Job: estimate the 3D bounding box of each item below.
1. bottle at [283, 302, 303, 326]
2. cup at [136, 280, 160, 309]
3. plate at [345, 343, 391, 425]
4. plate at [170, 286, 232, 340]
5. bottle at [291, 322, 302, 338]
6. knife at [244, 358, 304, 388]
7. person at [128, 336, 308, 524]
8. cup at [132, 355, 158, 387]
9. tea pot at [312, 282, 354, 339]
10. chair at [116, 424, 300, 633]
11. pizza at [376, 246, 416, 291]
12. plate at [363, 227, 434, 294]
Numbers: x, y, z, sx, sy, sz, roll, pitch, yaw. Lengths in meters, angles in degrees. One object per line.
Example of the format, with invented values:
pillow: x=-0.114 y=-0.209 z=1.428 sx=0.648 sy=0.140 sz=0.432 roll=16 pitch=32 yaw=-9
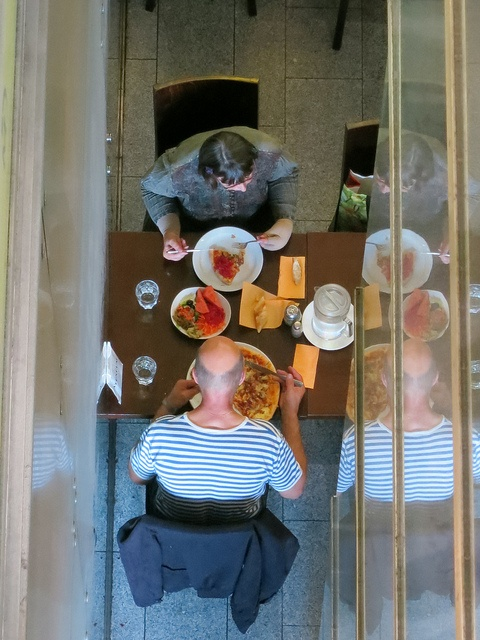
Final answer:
bottle: x=0.133 y=-0.023 z=2.586 sx=0.033 sy=0.058 sz=0.050 roll=1 pitch=-20 yaw=4
cup: x=-0.232 y=-0.079 z=2.627 sx=0.052 sy=0.072 sz=0.051 roll=2 pitch=-9 yaw=0
plate: x=0.238 y=0.110 z=1.818 sx=0.082 sy=0.135 sz=0.020 roll=-8 pitch=-11 yaw=35
plate: x=-0.097 y=-0.029 z=2.596 sx=0.152 sy=0.107 sz=0.103 roll=0 pitch=31 yaw=-2
bottle: x=0.143 y=0.015 z=2.584 sx=0.023 sy=0.034 sz=0.038 roll=0 pitch=61 yaw=3
knife: x=0.083 y=0.128 z=2.557 sx=0.123 sy=0.019 sz=0.011 roll=30 pitch=21 yaw=-14
person: x=-0.045 y=0.287 z=2.568 sx=0.386 sy=0.486 sz=0.733 roll=6 pitch=-7 yaw=-1
cup: x=-0.239 y=0.120 z=2.553 sx=0.050 sy=0.071 sz=0.048 roll=0 pitch=-9 yaw=0
tea pot: x=0.228 y=-0.026 z=2.527 sx=0.048 sy=0.086 sz=0.084 roll=-33 pitch=69 yaw=-18
chair: x=-0.064 y=0.553 z=2.519 sx=0.405 sy=0.449 sz=0.318 roll=4 pitch=66 yaw=0
pizza: x=0.256 y=-0.092 z=1.688 sx=0.062 sy=0.082 sz=0.023 roll=-1 pitch=-5 yaw=12
plate: x=0.263 y=-0.105 z=1.695 sx=0.107 sy=0.140 sz=0.013 roll=1 pitch=0 yaw=31
